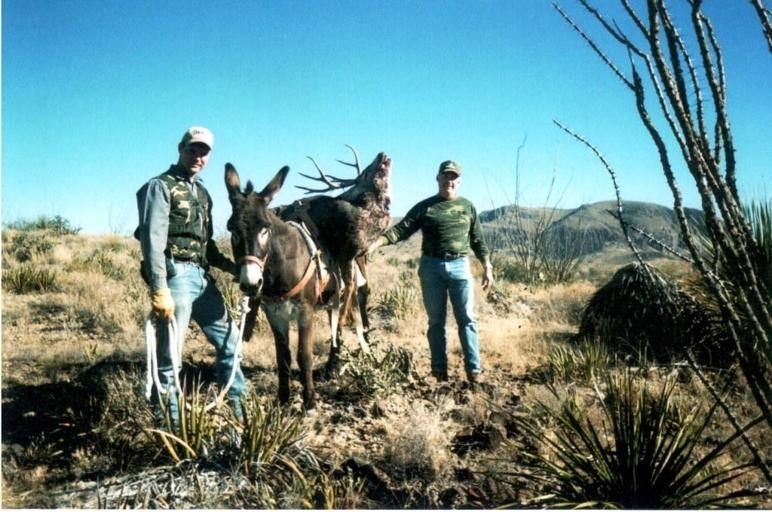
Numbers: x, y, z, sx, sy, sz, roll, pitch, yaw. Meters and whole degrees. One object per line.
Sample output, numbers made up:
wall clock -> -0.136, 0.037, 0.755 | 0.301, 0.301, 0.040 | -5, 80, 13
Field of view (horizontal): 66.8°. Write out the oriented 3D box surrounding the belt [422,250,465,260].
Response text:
belt -> 0.899, 0.010, 8.932 | 0.621, 0.151, 0.169 | -4, -5, 2

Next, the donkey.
donkey -> -1.218, 0.534, 8.683 | 1.088, 2.983, 3.733 | -1, -1, 15

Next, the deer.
deer -> -0.956, -0.074, 8.652 | 2.419, 2.501, 1.216 | -20, 9, -20

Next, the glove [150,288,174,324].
glove -> -2.604, 0.578, 6.856 | 0.245, 0.379, 0.152 | 0, 4, 14
